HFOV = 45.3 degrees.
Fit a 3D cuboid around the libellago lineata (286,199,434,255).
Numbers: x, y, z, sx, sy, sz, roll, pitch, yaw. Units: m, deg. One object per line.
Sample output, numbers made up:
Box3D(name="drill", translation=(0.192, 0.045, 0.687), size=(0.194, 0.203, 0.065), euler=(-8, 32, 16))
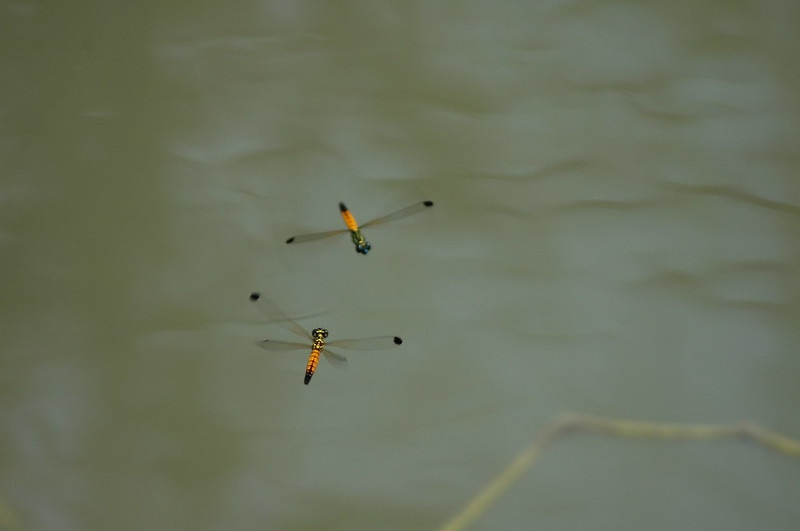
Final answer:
Box3D(name="libellago lineata", translation=(-0.148, -0.150, 3.626), size=(0.483, 0.110, 0.213), euler=(-18, 81, 3))
